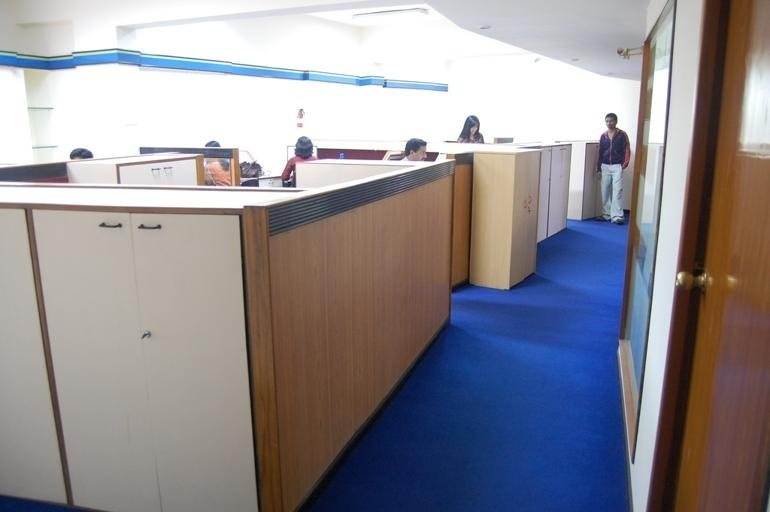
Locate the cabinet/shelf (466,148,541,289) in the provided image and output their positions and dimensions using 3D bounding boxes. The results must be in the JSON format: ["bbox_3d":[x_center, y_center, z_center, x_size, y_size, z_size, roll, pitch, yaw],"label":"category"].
[{"bbox_3d":[1.379,-0.464,6.449,0.570,1.470,1.481,3,12,24],"label":"cabinet/shelf"}]
